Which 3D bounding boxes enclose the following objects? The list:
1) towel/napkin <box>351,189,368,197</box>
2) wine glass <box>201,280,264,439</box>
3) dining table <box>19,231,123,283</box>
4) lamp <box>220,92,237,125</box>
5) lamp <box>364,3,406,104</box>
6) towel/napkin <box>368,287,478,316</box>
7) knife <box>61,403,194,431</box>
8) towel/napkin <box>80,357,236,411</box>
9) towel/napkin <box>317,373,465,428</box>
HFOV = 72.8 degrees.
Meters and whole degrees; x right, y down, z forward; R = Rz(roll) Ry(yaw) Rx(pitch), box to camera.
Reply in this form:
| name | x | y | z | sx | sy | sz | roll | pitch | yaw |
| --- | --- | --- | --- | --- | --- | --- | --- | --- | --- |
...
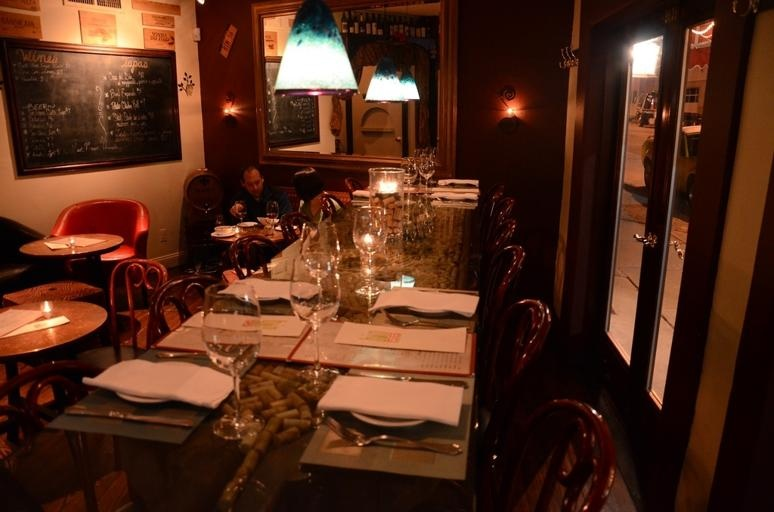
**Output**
| name | x | y | z | sx | sy | sz | roll | pitch | yaw |
| --- | --- | --- | --- | --- | --- | --- | --- | --- | --- |
| towel/napkin | -0.189 | -0.485 | 4.079 | 0.079 | 0.027 | 0.081 | 6 | 19 | 13 |
| wine glass | -0.472 | 0.336 | 1.608 | 0.216 | 0.541 | 0.223 | -7 | 26 | -21 |
| dining table | -2.574 | -0.090 | 4.346 | 0.514 | 0.353 | 0.521 | 4 | 27 | -8 |
| lamp | -1.862 | -1.739 | 6.195 | 0.259 | 0.370 | 0.074 | 10 | 19 | 33 |
| lamp | 0.002 | -1.777 | 5.097 | 0.497 | 0.522 | 0.479 | -1 | 9 | -5 |
| towel/napkin | 0.162 | 0.184 | 2.127 | 0.301 | 0.055 | 0.169 | 8 | 23 | 9 |
| knife | -0.777 | 0.494 | 1.592 | 0.294 | 0.026 | 0.050 | 3 | 27 | 5 |
| towel/napkin | -0.718 | 0.403 | 1.679 | 0.315 | 0.047 | 0.188 | 4 | 17 | 14 |
| towel/napkin | 0.020 | 0.439 | 1.602 | 0.302 | 0.051 | 0.177 | 1 | 19 | 18 |
